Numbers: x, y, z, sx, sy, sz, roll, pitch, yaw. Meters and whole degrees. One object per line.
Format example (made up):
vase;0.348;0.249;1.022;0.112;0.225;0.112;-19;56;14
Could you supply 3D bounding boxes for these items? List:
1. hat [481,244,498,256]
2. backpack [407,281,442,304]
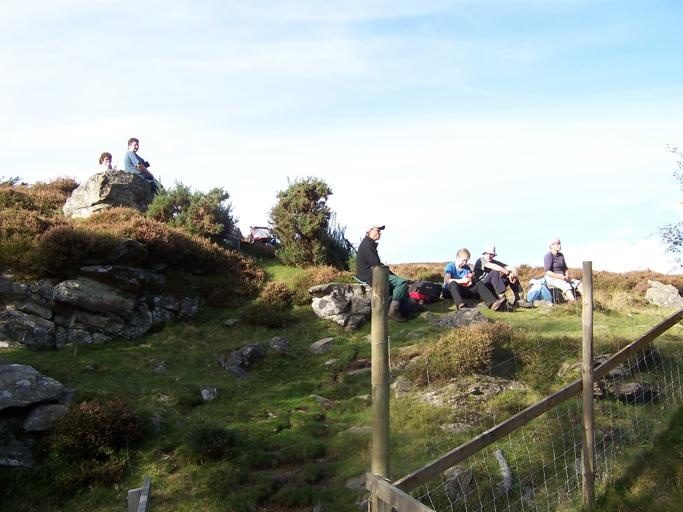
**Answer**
hat;4.316;-0.157;17.456;0.329;0.290;0.470;4;0;24
backpack;3.018;1.295;21.746;0.725;0.521;1.013;4;-5;-6
